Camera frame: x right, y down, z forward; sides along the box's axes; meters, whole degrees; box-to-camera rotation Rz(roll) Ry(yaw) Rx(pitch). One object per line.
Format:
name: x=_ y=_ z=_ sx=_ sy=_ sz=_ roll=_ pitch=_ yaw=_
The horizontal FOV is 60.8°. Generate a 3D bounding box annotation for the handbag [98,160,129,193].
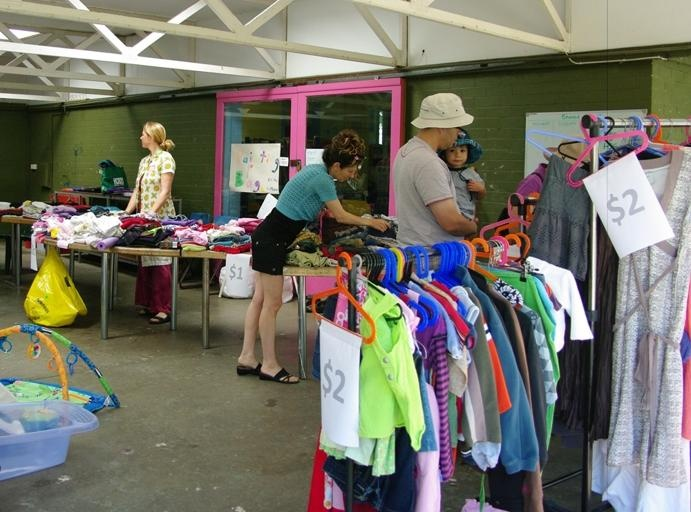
handbag: x=-4.209 y=-1.466 z=10.651 sx=0.481 sy=0.600 sz=1.367 roll=0 pitch=6 yaw=-23

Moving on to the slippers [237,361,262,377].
slippers: x=-0.865 y=1.011 z=5.209 sx=0.241 sy=0.096 sz=0.097 roll=1 pitch=1 yaw=-14

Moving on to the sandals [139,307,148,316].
sandals: x=-2.487 y=0.684 z=7.266 sx=0.088 sy=0.048 sz=0.177 roll=2 pitch=4 yaw=-8

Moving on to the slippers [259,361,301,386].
slippers: x=-0.573 y=1.019 z=5.096 sx=0.336 sy=0.112 sz=0.140 roll=2 pitch=2 yaw=24
